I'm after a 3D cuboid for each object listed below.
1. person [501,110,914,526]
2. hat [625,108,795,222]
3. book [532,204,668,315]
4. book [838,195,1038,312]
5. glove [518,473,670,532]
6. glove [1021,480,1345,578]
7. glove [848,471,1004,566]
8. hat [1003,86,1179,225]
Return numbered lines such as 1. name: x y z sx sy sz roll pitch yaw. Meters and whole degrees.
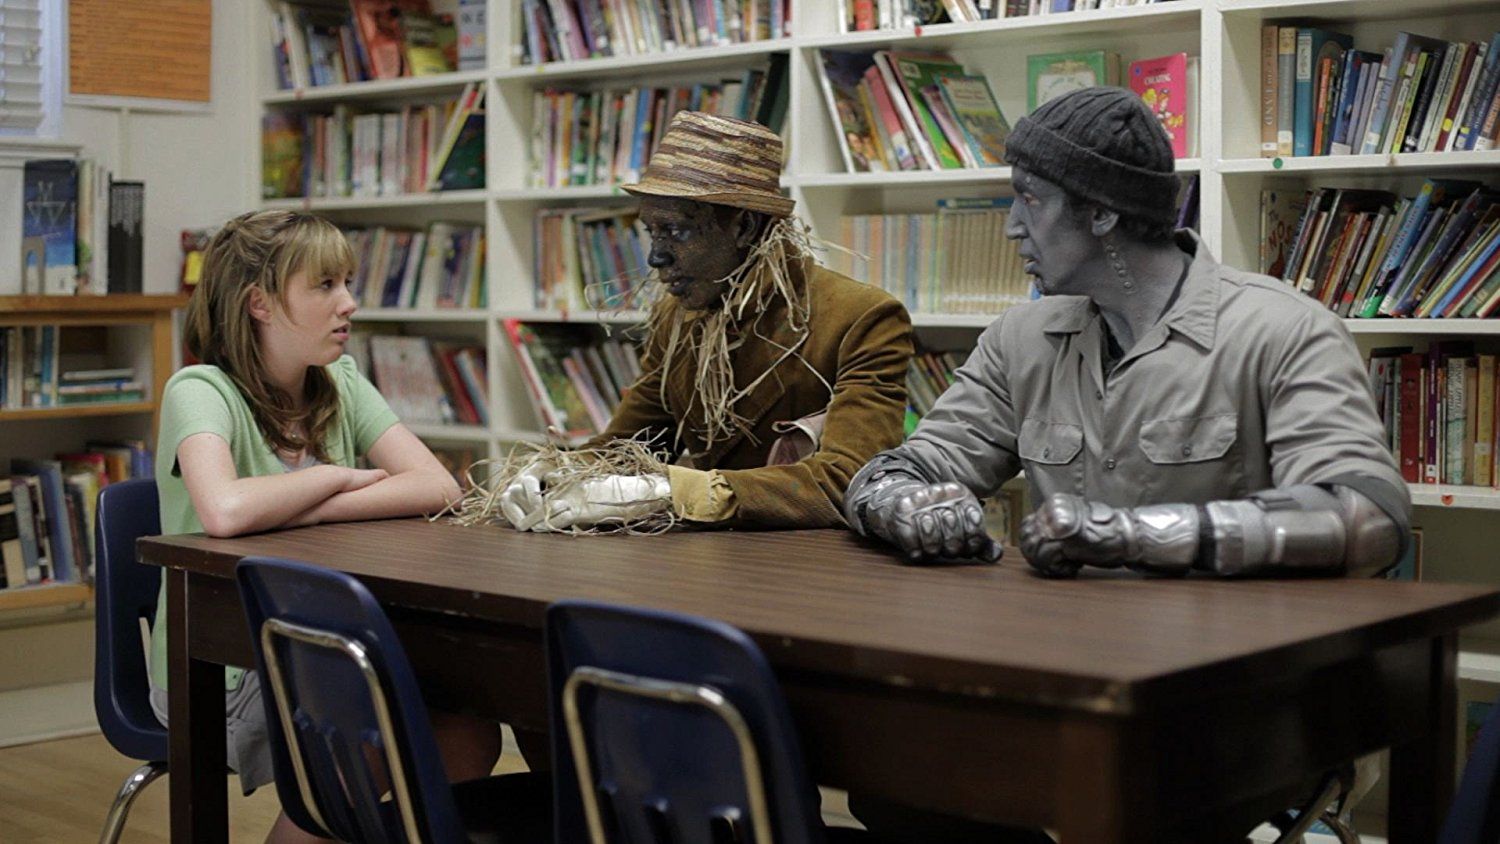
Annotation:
1. person: -0.073 -0.201 2.850 1.039 1.039 0.989 -2 4 -34
2. hat: -0.087 -0.680 2.787 0.446 0.221 0.384 11 21 -4
3. book: -0.550 -0.608 3.998 0.589 0.549 0.329 0 1 40
4. book: 0.615 -0.525 3.417 0.526 0.254 0.273 4 7 34
5. glove: -0.331 0.142 2.303 0.244 0.060 0.149 -8 6 -5
6. glove: 0.773 0.199 1.954 0.571 0.198 0.198 -3 7 0
7. glove: 0.318 0.164 2.162 0.265 0.134 0.362 -11 15 -24
8. hat: 0.724 -0.546 2.170 0.312 0.225 0.330 -22 44 -38
